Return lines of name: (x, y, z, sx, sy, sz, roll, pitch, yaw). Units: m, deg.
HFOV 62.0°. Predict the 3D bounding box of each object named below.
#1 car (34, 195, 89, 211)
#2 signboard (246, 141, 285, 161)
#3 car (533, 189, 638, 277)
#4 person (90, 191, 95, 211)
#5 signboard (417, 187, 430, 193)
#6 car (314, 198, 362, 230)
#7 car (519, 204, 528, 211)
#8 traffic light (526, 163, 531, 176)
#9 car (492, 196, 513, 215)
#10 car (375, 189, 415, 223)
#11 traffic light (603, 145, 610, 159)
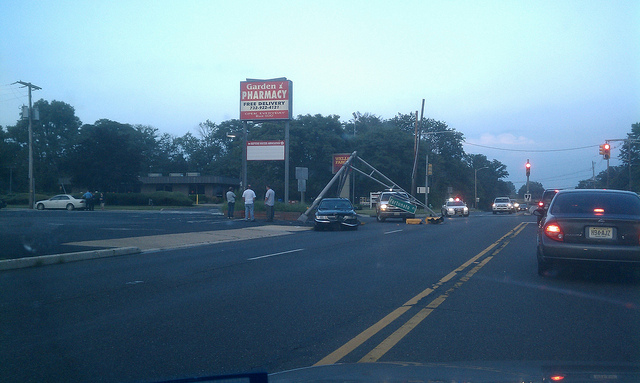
car: (-24.234, 1.047, 50.009, 4.269, 1.369, 1.435, 0, 2, 5)
signboard: (-4.414, -3.314, 42.921, 3.068, 1.422, 0.512, 0, 2, 10)
car: (6.457, 0.949, 12.739, 1.569, 1.171, 2.786, 0, 3, 17)
person: (-21.485, 0.929, 50.163, 0.203, 1.523, 0.851, -1, 2, -13)
signboard: (10.731, -0.157, 56.539, 0.886, 0.393, 0.891, 0, -5, 5)
car: (0.812, 1.251, 28.538, 1.461, 1.135, 3.209, -1, -6, 4)
car: (33.156, 2.578, 86.934, 0.923, 0.732, 1.551, -1, -6, 16)
traffic light: (21.052, -2.272, 54.045, 0.234, 1.117, 1.086, 0, 2, 18)
car: (20.101, 1.522, 58.898, 1.453, 1.425, 2.970, -2, -6, 21)
car: (4.903, 1.023, 36.108, 2.072, 2.003, 3.114, 0, 1, 6)
traffic light: (23.209, -3.225, 43.342, 0.495, 1.076, 0.306, 0, 2, 6)
